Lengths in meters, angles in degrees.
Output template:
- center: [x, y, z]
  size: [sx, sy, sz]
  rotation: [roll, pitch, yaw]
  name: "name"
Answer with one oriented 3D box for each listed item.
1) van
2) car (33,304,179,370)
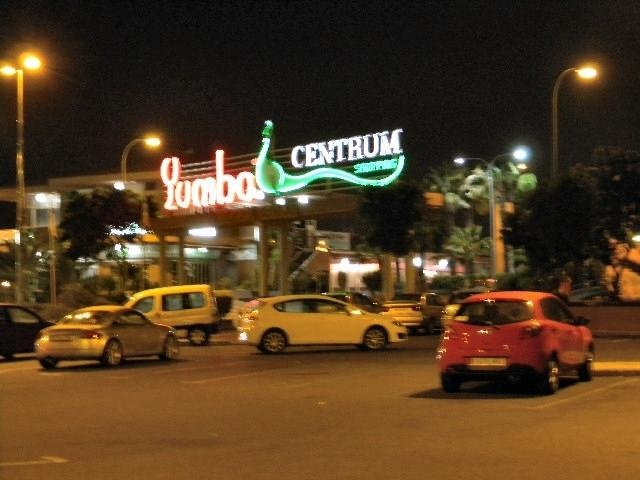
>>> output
- center: [-5.134, 2.602, 24.656]
  size: [3.049, 1.652, 1.830]
  rotation: [3, -4, -8]
  name: "van"
- center: [-5.379, 2.421, 18.227]
  size: [1.506, 1.120, 3.342]
  rotation: [-3, -2, 38]
  name: "car"
